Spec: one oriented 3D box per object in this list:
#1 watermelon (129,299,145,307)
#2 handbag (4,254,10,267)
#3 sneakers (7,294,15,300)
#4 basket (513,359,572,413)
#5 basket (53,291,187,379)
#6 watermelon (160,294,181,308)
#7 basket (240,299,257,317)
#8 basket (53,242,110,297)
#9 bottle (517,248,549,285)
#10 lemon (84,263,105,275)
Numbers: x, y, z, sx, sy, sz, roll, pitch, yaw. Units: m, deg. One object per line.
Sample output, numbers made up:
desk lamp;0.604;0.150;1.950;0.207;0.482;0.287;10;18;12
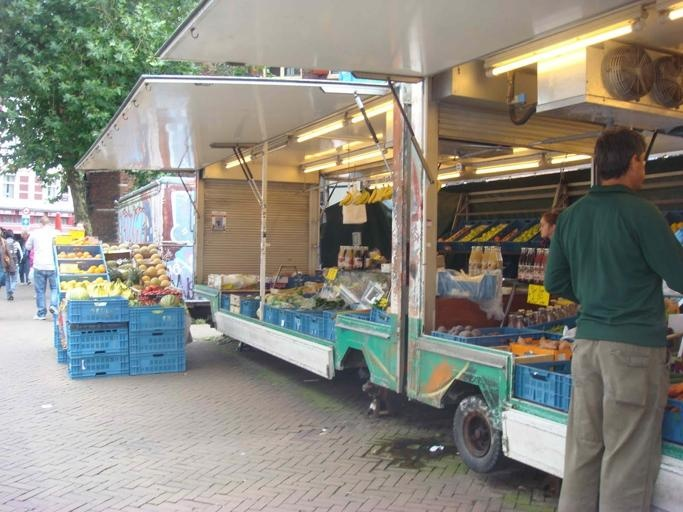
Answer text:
watermelon;-3.141;0.724;8.213;0.132;0.074;0.133;-1;-7;40
handbag;-8.970;0.123;14.412;0.077;0.260;0.211;14;20;25
sneakers;-10.782;1.356;17.545;0.154;0.170;0.439;0;-6;-35
basket;1.574;0.996;4.130;0.350;0.133;0.341;5;0;-41
basket;-3.228;1.093;8.092;1.471;0.806;1.402;2;-4;-28
watermelon;-2.648;0.689;8.329;0.203;0.172;0.235;0;3;34
basket;-1.530;0.849;8.856;0.280;0.294;0.470;2;-2;-29
basket;-4.644;0.204;9.567;0.772;0.614;1.343;-1;5;-25
bottle;2.464;0.132;6.908;0.329;0.413;0.142;17;51;15
lemon;-4.310;0.231;9.466;0.220;0.078;0.204;-8;10;-6
